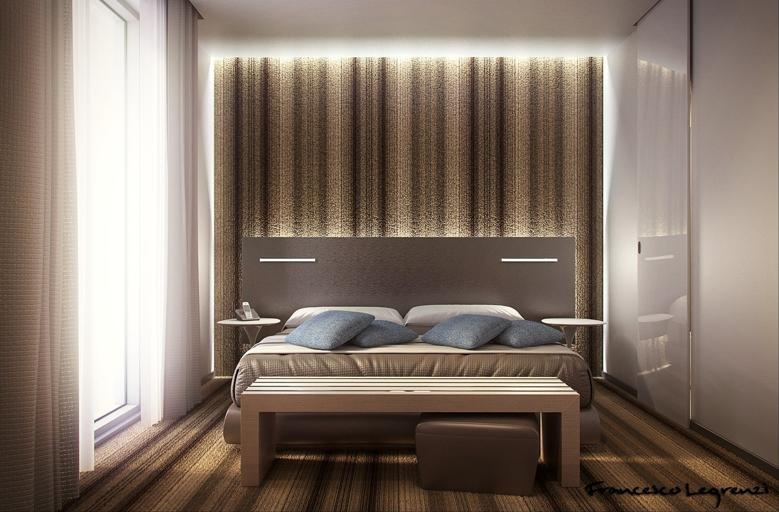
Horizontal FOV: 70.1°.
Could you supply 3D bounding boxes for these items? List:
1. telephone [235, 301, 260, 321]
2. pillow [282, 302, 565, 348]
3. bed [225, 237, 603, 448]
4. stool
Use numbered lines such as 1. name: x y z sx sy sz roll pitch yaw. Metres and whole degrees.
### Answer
1. telephone: -1.433 0.574 5.637 0.184 0.240 0.266 -5 -7 42
2. pillow: 0.310 0.583 5.058 2.351 0.326 1.281 0 10 -1
3. bed: 0.236 0.586 5.227 3.572 1.836 1.724 0 -6 -6
4. stool: 0.594 1.242 3.891 0.715 0.394 0.533 0 -5 8
